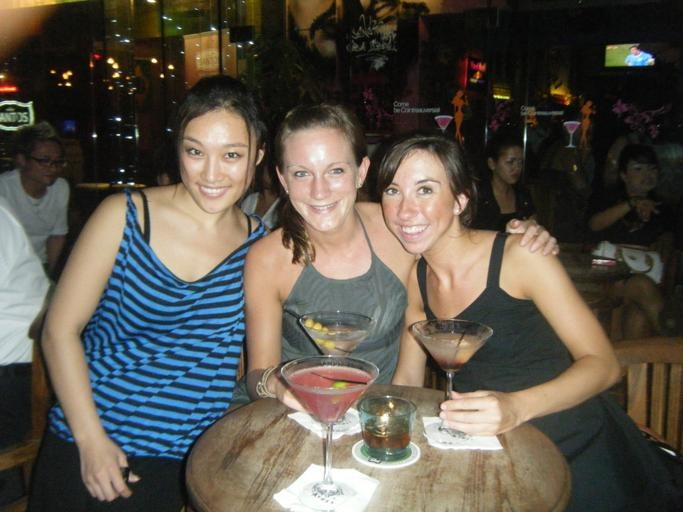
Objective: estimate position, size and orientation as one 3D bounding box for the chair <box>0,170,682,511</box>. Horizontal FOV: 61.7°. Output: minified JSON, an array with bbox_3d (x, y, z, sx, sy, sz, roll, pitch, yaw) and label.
[{"bbox_3d":[-0.032,0.536,3.398,2.663,1.244,1.955,-2,3,-1],"label":"chair"}]
